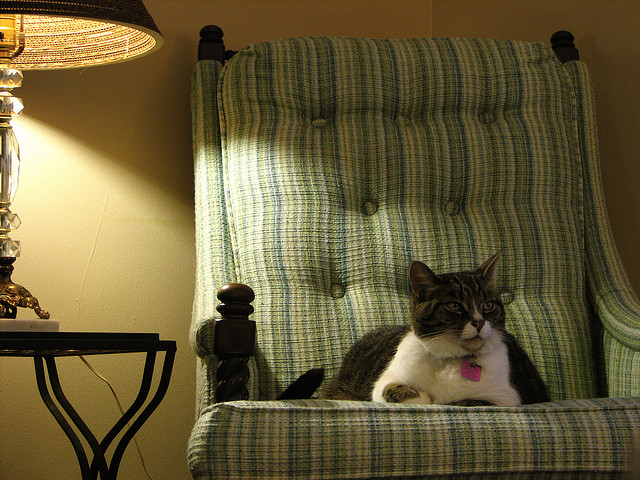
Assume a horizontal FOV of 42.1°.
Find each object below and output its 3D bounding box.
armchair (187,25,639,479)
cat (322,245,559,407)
[{"bbox_3d":[0.241,-0.067,2.071,1.168,1.444,0.472,-2,-32,-9],"label":"armchair"},{"bbox_3d":[0.282,0.244,2.093,0.497,0.340,0.773,4,-5,-17],"label":"cat"}]
